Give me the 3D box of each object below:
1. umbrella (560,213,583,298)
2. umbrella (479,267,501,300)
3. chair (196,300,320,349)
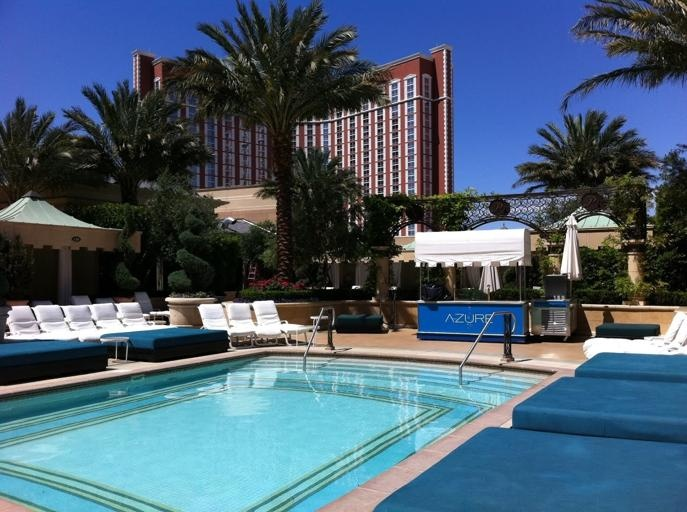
[{"bbox_3d":[6.400,0.002,15.957,0.507,2.336,1.438,-3,2,23],"label":"umbrella"},{"bbox_3d":[5.037,0.915,19.470,0.695,1.376,4.425,-3,1,14],"label":"umbrella"},{"bbox_3d":[-2.334,1.756,14.470,2.502,0.903,1.988,-4,1,-26],"label":"chair"}]
